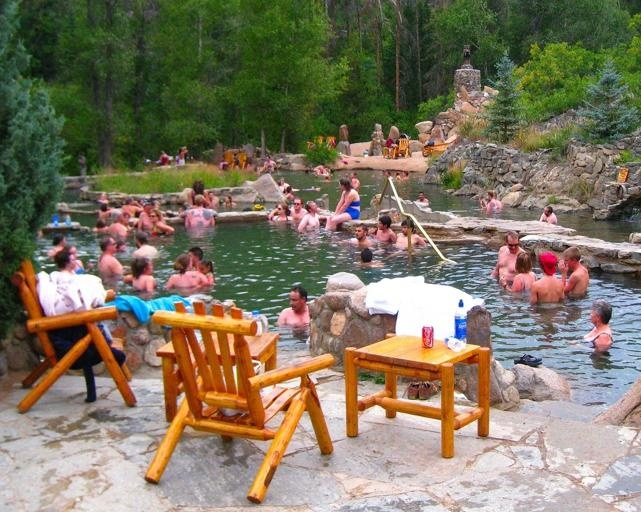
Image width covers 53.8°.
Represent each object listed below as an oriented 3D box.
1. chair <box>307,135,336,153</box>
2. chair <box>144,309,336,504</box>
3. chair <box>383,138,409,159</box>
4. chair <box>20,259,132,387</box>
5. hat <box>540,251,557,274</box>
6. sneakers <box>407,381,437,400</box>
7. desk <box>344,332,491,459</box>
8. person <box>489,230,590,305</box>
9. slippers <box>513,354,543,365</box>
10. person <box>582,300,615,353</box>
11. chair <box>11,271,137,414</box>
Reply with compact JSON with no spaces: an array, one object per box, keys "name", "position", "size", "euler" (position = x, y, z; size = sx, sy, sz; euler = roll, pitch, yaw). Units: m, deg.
[{"name":"chair","position":[0.127,-8.450,47.134],"size":[1.306,1.849,3.272],"euler":[3,13,16]},{"name":"chair","position":[-0.630,1.138,5.394],"size":[1.162,1.402,1.315],"euler":[2,3,27]},{"name":"chair","position":[5.657,-7.938,46.718],"size":[1.910,1.388,1.424],"euler":[2,5,18]},{"name":"chair","position":[-2.637,0.786,6.735],"size":[1.168,1.347,1.170],"euler":[-1,3,-8]},{"name":"hat","position":[3.804,0.117,10.593],"size":[0.232,0.415,0.432],"euler":[5,12,24]},{"name":"sneakers","position":[1.093,1.475,6.897],"size":[0.222,0.084,0.215],"euler":[-6,10,-36]},{"name":"desk","position":[0.867,1.206,5.676],"size":[1.197,0.847,0.688],"euler":[6,12,28]},{"name":"person","position":[3.889,0.248,11.498],"size":[1.004,1.096,1.834],"euler":[-8,15,-11]},{"name":"slippers","position":[2.688,1.356,8.196],"size":[0.278,0.111,0.157],"euler":[0,8,3]},{"name":"person","position":[3.981,1.001,9.132],"size":[0.415,0.705,0.748],"euler":[0,10,18]},{"name":"chair","position":[-2.572,0.800,6.650],"size":[1.327,1.421,1.207],"euler":[-3,4,-36]}]
